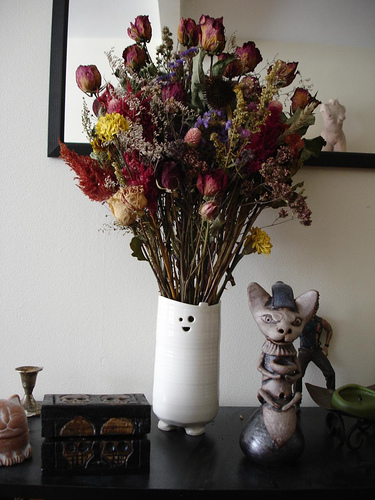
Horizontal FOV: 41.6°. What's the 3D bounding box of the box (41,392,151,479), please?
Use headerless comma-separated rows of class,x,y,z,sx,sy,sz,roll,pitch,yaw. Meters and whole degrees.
box,-0.142,0.279,0.746,0.164,0.095,0.087,5,-7,-19

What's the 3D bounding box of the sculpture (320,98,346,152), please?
sculpture,0.312,-0.264,1.066,0.073,0.121,0.044,-1,12,6

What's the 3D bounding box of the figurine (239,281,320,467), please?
figurine,0.147,0.201,0.793,0.135,0.269,0.109,1,-3,0

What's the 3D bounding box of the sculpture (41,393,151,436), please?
sculpture,-0.138,0.253,0.741,0.160,0.047,0.080,4,-6,-18

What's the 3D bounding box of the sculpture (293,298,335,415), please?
sculpture,0.264,0.227,1.041,0.111,0.227,0.076,-2,-4,-11

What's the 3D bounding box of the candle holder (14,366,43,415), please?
candle holder,-0.302,0.266,0.937,0.083,0.081,0.076,0,-15,-7

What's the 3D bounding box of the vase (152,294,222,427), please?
vase,0.001,0.195,0.859,0.115,0.219,0.069,3,2,-4

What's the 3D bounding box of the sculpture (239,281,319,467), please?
sculpture,0.139,0.199,0.799,0.110,0.272,0.106,-2,-3,44

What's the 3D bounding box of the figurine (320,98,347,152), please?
figurine,0.313,-0.267,1.060,0.065,0.106,0.039,-1,12,6

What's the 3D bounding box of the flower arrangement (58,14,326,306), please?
flower arrangement,0.011,-0.154,0.828,0.413,0.498,0.242,4,2,13
